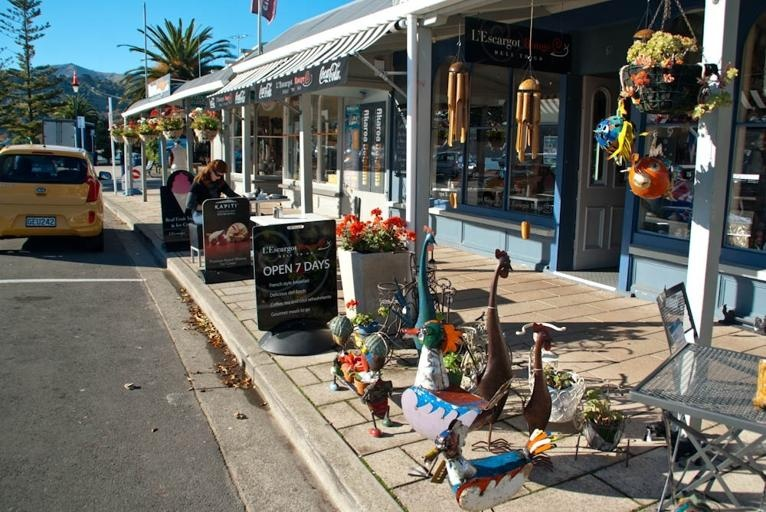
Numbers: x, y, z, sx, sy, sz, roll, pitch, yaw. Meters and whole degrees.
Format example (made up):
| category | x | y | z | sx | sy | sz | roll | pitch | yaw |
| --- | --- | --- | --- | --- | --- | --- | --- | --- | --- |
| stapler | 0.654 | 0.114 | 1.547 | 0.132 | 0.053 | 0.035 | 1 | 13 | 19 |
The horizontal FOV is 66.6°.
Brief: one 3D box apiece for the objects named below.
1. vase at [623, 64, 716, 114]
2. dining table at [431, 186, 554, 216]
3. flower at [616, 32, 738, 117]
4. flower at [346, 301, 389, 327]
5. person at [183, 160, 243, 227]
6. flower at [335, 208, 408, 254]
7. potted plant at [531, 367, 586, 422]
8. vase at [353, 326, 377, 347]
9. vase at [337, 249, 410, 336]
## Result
| category | x | y | z | sx | sy | sz | roll | pitch | yaw |
| --- | --- | --- | --- | --- | --- | --- | --- | --- | --- |
| vase | 2.315 | -1.391 | 4.807 | 0.490 | 0.247 | 0.497 | 11 | 17 | 43 |
| dining table | 1.938 | -1.046 | 11.341 | 0.256 | 0.417 | 3.379 | -8 | 12 | -32 |
| flower | 2.379 | -1.424 | 4.940 | 0.708 | 0.612 | 0.869 | -6 | 14 | -42 |
| flower | -0.173 | 0.688 | 6.570 | 0.400 | 0.291 | 0.340 | 6 | 3 | -11 |
| person | -2.942 | -1.083 | 10.187 | 0.935 | 1.143 | 0.885 | 8 | 10 | 11 |
| flower | -0.182 | -0.280 | 7.303 | 0.696 | 0.348 | 0.628 | -4 | 10 | -26 |
| potted plant | 1.594 | 1.289 | 5.390 | 0.509 | 0.407 | 0.434 | 0 | 0 | 13 |
| vase | -0.206 | 0.850 | 6.192 | 0.193 | 0.199 | 0.184 | 8 | -4 | -33 |
| vase | -0.156 | 0.374 | 7.240 | 0.829 | 1.223 | 0.809 | -7 | 15 | -15 |
